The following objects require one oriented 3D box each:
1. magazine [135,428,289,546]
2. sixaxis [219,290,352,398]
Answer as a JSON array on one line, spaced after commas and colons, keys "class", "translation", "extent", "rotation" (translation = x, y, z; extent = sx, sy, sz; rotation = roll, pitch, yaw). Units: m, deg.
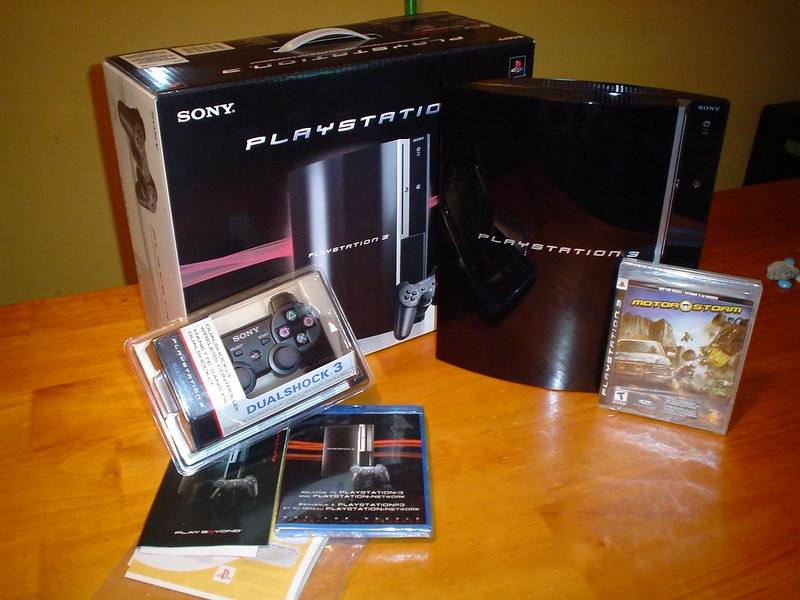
[{"class": "magazine", "translation": [-0.212, 0.220, 0.743], "extent": [0.146, 0.048, 0.150], "rotation": [-1, 24, -1]}, {"class": "sixaxis", "translation": [-0.154, 0.060, 0.821], "extent": [0.116, 0.164, 0.051], "rotation": [47, 21, -2]}]
